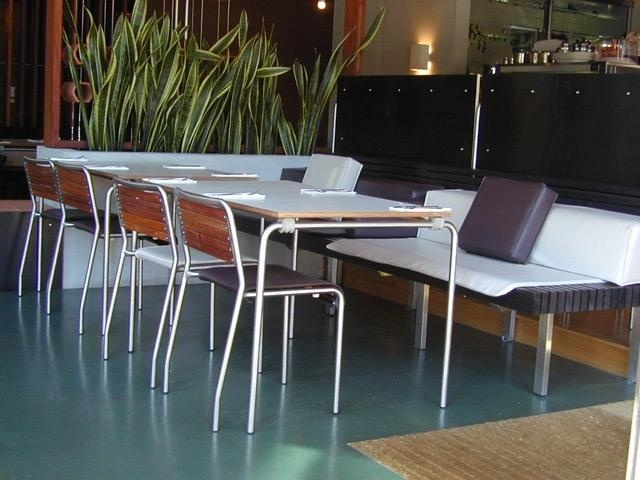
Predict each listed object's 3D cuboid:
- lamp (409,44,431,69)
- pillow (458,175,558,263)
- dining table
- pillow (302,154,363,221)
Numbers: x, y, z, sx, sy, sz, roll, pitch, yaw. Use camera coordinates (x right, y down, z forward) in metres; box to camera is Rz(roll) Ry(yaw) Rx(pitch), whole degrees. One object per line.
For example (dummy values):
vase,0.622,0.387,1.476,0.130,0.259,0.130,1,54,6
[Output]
lamp,1.255,-2.285,6.725,0.251,0.317,0.158,4,9,5
pillow,0.991,-0.115,2.790,0.165,0.451,0.487,23,-3,-41
dining table,-0.132,0.098,2.321,0.996,0.882,1.169,-2,6,-27
pillow,0.048,-0.411,3.353,0.328,0.356,0.084,5,-16,36
